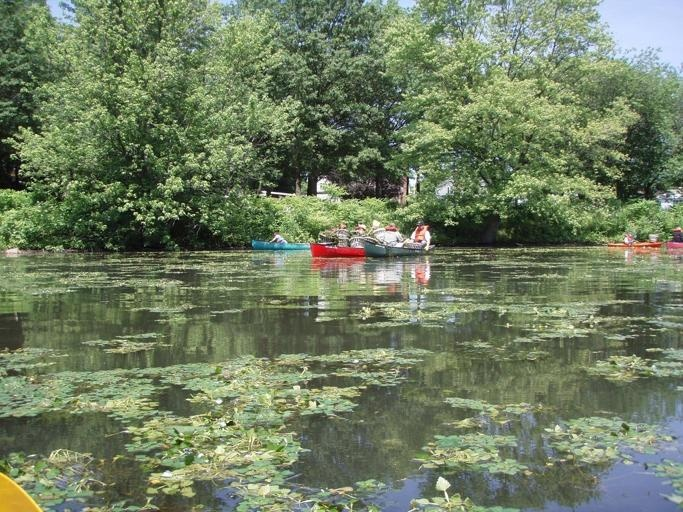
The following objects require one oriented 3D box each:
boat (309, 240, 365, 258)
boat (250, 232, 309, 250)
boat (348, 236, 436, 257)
[{"bbox_3d":[-0.185,-0.256,27.346,2.309,0.522,0.780,-2,-1,12],"label":"boat"},{"bbox_3d":[-3.533,-0.595,37.038,1.136,0.801,5.039,-5,-7,30],"label":"boat"},{"bbox_3d":[1.851,-0.301,26.773,4.163,0.663,0.942,6,-6,-41],"label":"boat"}]
